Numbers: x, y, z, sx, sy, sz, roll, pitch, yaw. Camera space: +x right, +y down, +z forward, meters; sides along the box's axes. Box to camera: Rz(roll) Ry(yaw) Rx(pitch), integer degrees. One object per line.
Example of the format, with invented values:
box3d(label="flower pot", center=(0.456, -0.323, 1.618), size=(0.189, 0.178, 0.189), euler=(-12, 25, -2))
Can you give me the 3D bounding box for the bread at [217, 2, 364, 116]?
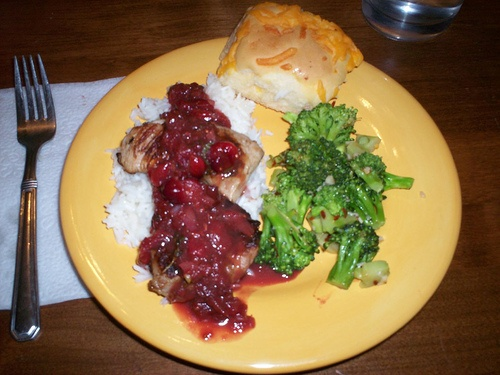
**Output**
box3d(label="bread", center=(0.382, -1.204, 4.678), size=(1.246, 0.366, 0.975), euler=(28, 90, 0))
